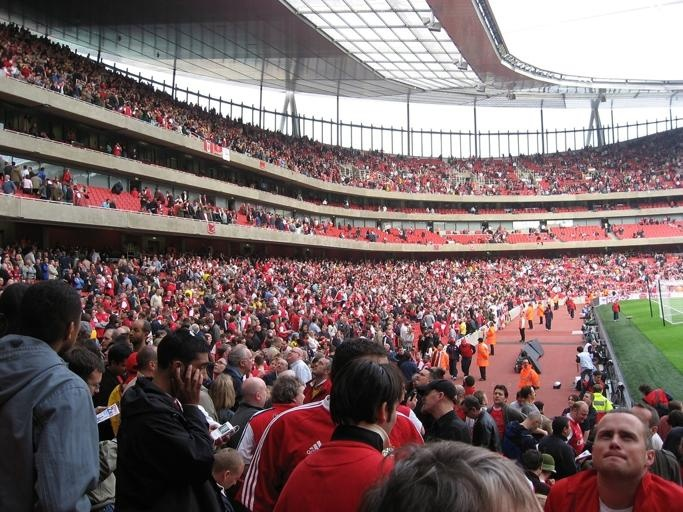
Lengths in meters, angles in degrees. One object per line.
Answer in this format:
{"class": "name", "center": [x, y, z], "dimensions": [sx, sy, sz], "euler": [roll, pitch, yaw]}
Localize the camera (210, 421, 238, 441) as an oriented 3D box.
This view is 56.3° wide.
{"class": "camera", "center": [-1.234, 1.873, 6.728], "dimensions": [0.320, 0.082, 0.190], "euler": [-26, 28, -38]}
